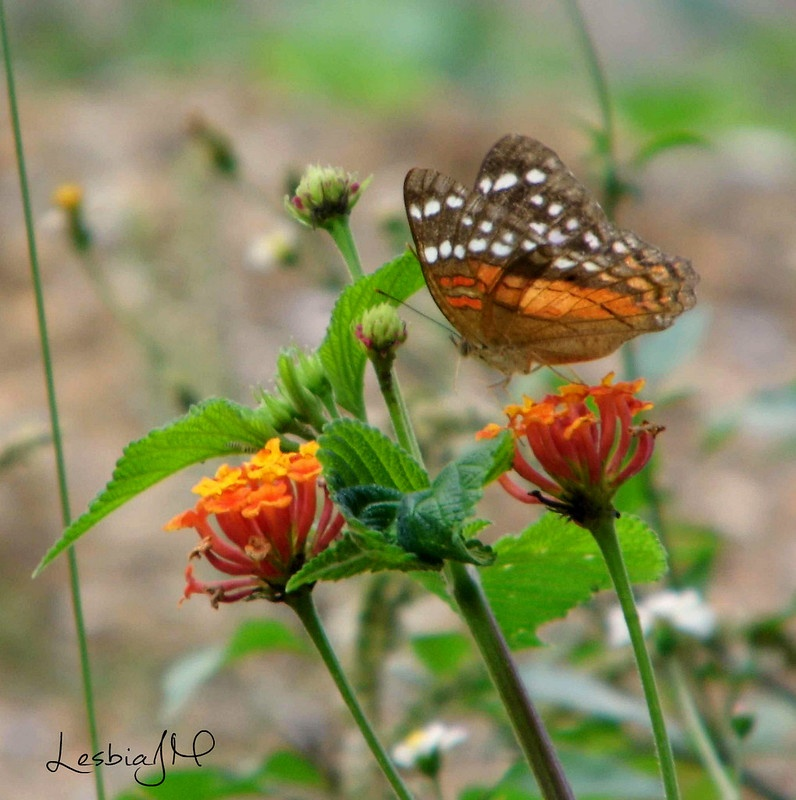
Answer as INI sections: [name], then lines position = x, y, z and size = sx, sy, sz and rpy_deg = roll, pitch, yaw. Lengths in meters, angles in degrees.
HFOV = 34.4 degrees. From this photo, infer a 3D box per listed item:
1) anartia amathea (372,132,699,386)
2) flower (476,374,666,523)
[anartia amathea]
position = 0.114, -0.086, 1.304
size = 0.258, 0.260, 0.176
rpy_deg = 6, 63, -25
[flower]
position = 0.162, 0.047, 1.248
size = 0.155, 0.135, 0.153
rpy_deg = -37, 17, -32
